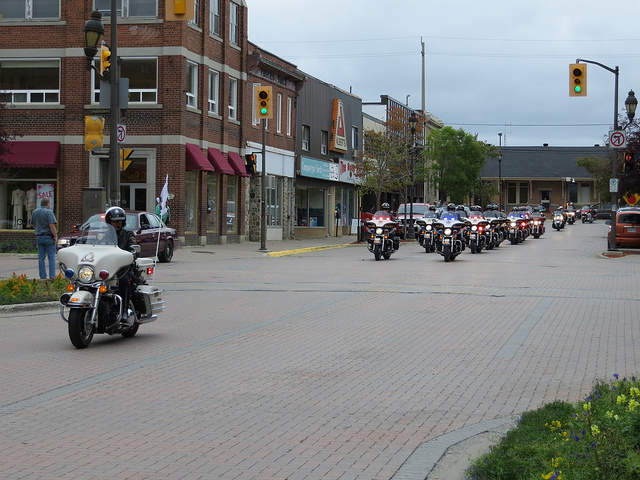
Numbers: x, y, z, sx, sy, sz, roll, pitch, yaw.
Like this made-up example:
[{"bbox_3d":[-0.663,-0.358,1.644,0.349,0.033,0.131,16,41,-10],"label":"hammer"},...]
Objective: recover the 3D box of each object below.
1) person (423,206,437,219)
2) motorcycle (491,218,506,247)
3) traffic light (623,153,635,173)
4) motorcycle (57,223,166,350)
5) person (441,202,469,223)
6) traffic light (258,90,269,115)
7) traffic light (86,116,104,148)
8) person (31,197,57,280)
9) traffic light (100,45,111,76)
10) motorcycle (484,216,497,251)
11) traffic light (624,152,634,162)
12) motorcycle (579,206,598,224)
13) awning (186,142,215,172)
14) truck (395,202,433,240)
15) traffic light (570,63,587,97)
[{"bbox_3d":[6.482,-1.681,42.757,0.609,0.474,1.019,-1,1,6],"label":"person"},{"bbox_3d":[9.252,-0.338,36.816,0.861,1.070,1.649,-2,-2,11],"label":"motorcycle"},{"bbox_3d":[13.172,-3.322,30.957,0.322,0.856,0.900,1,2,22],"label":"traffic light"},{"bbox_3d":[-3.256,0.677,11.121,0.736,1.859,1.536,1,2,35],"label":"motorcycle"},{"bbox_3d":[5.215,-1.077,28.769,0.617,0.727,1.465,-1,-2,12],"label":"person"},{"bbox_3d":[-2.469,-6.012,31.556,0.515,1.077,0.420,0,2,15],"label":"traffic light"},{"bbox_3d":[-5.693,-2.735,18.297,0.405,0.893,1.907,-1,2,-18],"label":"traffic light"},{"bbox_3d":[-7.089,-0.048,18.593,0.575,2.092,1.174,-1,2,-22],"label":"person"},{"bbox_3d":[-5.343,-4.488,18.036,0.183,0.800,0.678,-1,2,-19],"label":"traffic light"},{"bbox_3d":[8.283,-0.274,35.533,0.872,1.126,1.737,-2,-2,10],"label":"motorcycle"},{"bbox_3d":[13.286,-3.569,31.163,0.391,0.457,0.454,3,11,7],"label":"traffic light"},{"bbox_3d":[29.020,-2.750,79.670,1.446,1.847,3.322,-2,-2,25],"label":"motorcycle"},{"bbox_3d":[-5.793,-4.005,34.698,0.857,1.264,1.413,0,2,10],"label":"awning"},{"bbox_3d":[5.991,-1.456,46.505,1.870,1.789,3.691,0,0,7],"label":"truck"},{"bbox_3d":[9.170,-5.676,25.768,0.541,1.208,0.755,0,2,15],"label":"traffic light"}]
